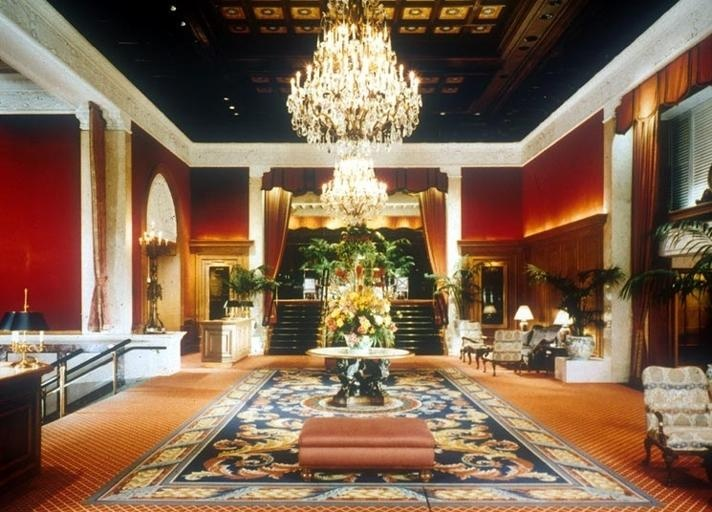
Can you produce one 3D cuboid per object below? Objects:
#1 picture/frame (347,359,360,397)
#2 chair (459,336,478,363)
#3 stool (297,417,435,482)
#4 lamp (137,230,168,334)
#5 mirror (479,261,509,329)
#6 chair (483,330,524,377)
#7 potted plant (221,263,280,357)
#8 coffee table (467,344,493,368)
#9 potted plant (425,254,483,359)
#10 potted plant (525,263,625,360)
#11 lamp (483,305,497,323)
[{"bbox_3d":[-0.055,2.037,8.459,0.249,0.591,0.091,0,1,-29],"label":"picture/frame"},{"bbox_3d":[2.916,2.448,13.154,0.616,0.745,0.629,2,-11,3],"label":"chair"},{"bbox_3d":[0.101,2.310,6.148,1.565,0.532,1.107,1,-5,2],"label":"stool"},{"bbox_3d":[-4.859,0.551,12.035,0.568,2.316,3.024,0,1,-21],"label":"lamp"},{"bbox_3d":[4.104,1.242,15.455,0.985,2.229,0.078,-3,17,2],"label":"mirror"},{"bbox_3d":[3.407,2.266,11.964,1.004,1.357,1.050,2,-4,-3],"label":"chair"},{"bbox_3d":[-3.585,1.446,14.921,1.936,2.599,2.435,0,-3,-3],"label":"potted plant"},{"bbox_3d":[3.018,2.305,12.254,0.610,0.421,0.890,1,-4,-1],"label":"coffee table"},{"bbox_3d":[3.023,1.253,15.092,1.295,1.640,1.089,-21,16,-37],"label":"potted plant"},{"bbox_3d":[4.781,0.863,10.930,2.056,1.417,2.085,-4,8,-7],"label":"potted plant"},{"bbox_3d":[3.952,1.738,14.982,0.392,0.605,1.058,0,0,15],"label":"lamp"}]
